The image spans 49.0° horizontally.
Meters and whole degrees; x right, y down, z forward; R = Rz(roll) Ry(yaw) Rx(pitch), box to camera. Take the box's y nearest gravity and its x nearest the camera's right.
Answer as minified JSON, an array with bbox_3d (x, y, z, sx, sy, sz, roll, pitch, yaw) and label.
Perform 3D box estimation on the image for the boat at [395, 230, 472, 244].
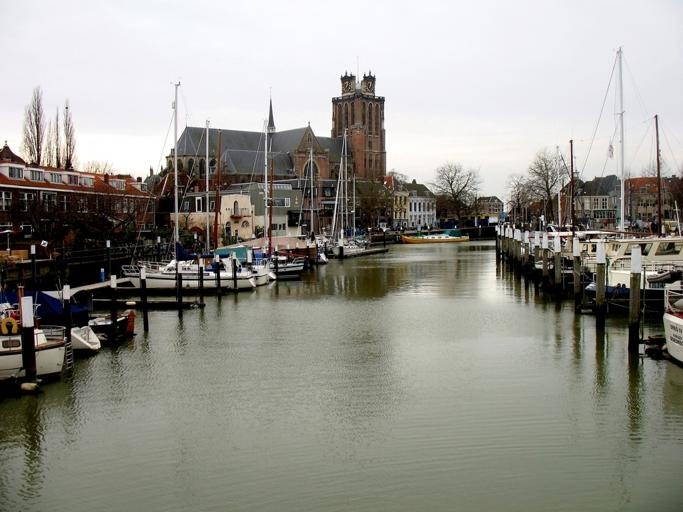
[{"bbox_3d":[15.924,-3.060,127.486,10.809,1.368,14.803,4,11,29],"label":"boat"}]
